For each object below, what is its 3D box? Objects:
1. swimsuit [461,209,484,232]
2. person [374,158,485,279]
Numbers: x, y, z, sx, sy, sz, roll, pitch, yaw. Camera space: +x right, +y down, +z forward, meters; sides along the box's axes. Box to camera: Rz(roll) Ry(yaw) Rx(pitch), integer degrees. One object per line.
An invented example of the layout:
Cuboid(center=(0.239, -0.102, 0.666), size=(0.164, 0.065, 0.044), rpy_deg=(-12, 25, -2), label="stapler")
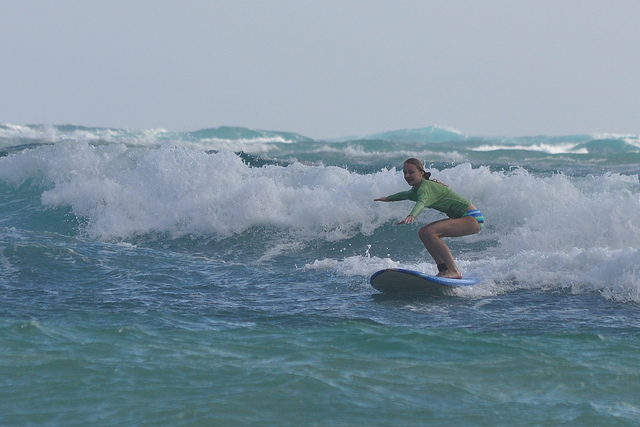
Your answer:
Cuboid(center=(2.766, 0.106, 15.405), size=(0.418, 0.289, 0.382), rpy_deg=(7, -25, -4), label="swimsuit")
Cuboid(center=(2.023, 0.102, 15.263), size=(1.553, 2.221, 0.837), rpy_deg=(-9, 12, -33), label="person")
